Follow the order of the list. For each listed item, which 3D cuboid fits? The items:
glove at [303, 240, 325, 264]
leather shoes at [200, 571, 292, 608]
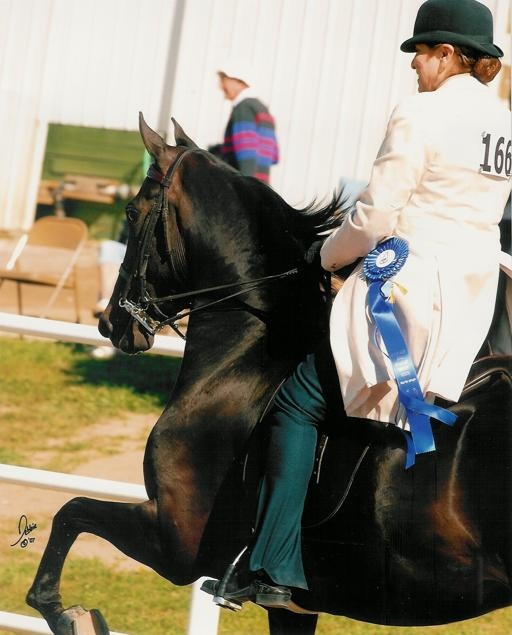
[{"bbox_3d":[0.183,-0.203,4.073,0.050,0.066,0.018,-11,-37,43],"label":"glove"},{"bbox_3d":[-0.029,0.833,3.943,0.302,0.119,0.102,1,-10,21],"label":"leather shoes"}]
